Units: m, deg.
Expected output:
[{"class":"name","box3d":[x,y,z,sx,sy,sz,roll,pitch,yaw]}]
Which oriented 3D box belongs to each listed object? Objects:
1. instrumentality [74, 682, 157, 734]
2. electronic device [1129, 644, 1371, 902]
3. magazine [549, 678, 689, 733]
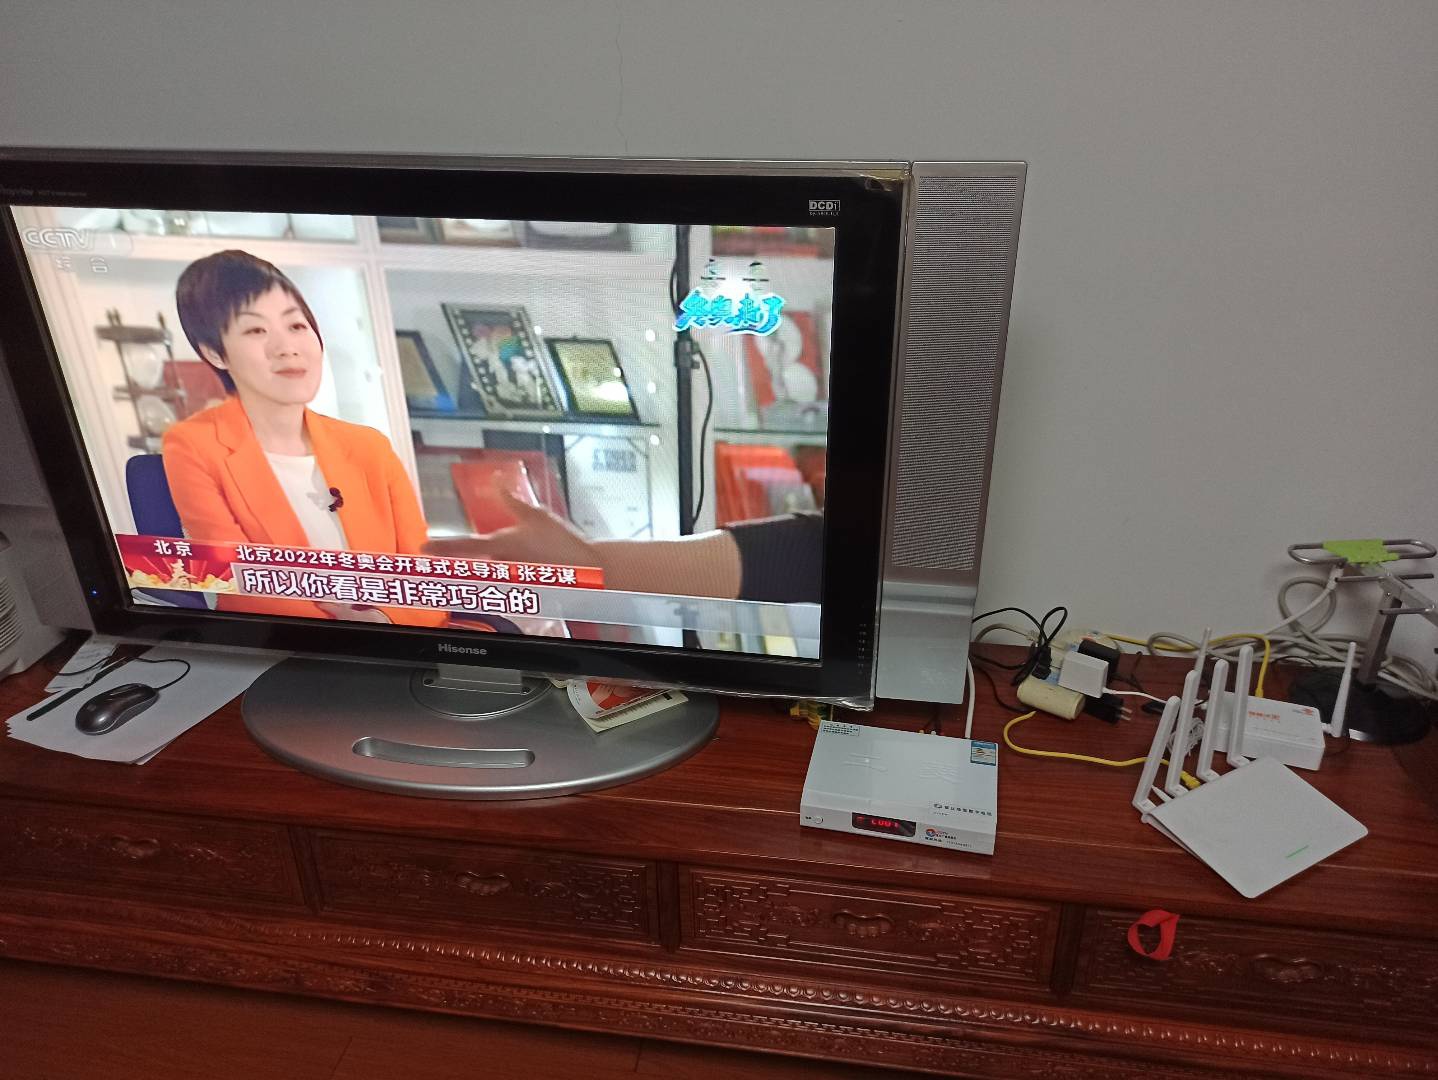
[{"class":"instrumentality","box3d":[-0.963,0.269,1.825,0.068,0.029,0.105,25,35,29]},{"class":"electronic device","box3d":[0.786,0.336,1.626,0.325,0.229,0.242,-9,39,-32]},{"class":"magazine","box3d":[-0.147,0.255,1.811,0.133,0.023,0.112,-15,38,-29]}]
